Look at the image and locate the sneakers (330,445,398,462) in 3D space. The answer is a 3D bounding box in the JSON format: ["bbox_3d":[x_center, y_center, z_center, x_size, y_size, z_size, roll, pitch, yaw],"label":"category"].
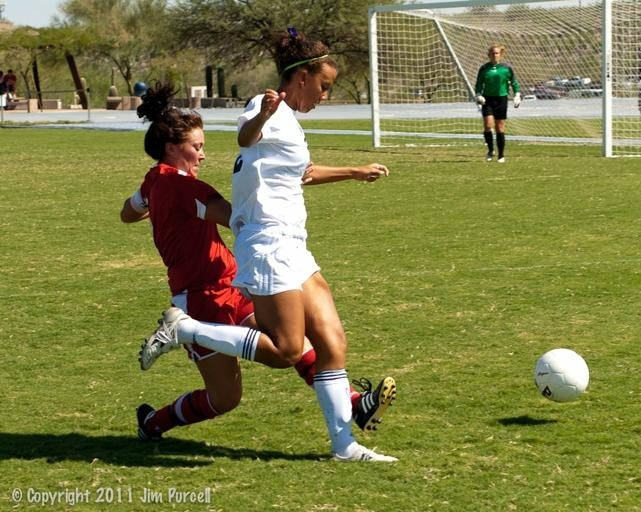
[{"bbox_3d":[0.243,1.164,5.543,0.438,0.096,0.113,-1,5,1],"label":"sneakers"}]

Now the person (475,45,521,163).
[{"bbox_3d":[3.020,-2.608,16.086,0.711,2.021,0.793,-3,12,10],"label":"person"}]

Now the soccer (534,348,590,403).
[{"bbox_3d":[1.678,0.799,6.200,0.467,0.320,0.374,-2,5,1],"label":"soccer"}]

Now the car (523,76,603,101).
[{"bbox_3d":[7.444,-5.159,28.926,2.149,0.474,8.357,0,8,14],"label":"car"}]

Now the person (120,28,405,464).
[{"bbox_3d":[-0.190,-0.066,5.510,1.032,2.548,1.274,6,16,43],"label":"person"}]

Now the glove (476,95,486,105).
[{"bbox_3d":[2.699,-2.636,15.875,0.157,0.165,0.321,-2,8,9],"label":"glove"}]
